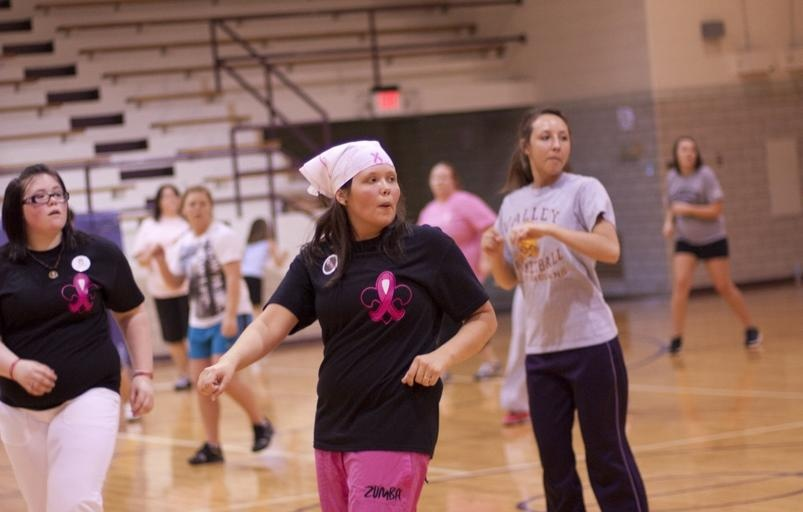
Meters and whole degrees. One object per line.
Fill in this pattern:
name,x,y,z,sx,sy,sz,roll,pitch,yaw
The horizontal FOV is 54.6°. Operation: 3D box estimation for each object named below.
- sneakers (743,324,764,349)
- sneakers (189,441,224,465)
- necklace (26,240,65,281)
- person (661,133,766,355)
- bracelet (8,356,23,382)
sneakers,2.244,0.517,4.955,0.064,0.082,0.192,-11,-11,13
sneakers,-1.407,1.433,5.709,0.299,0.168,0.102,3,0,-17
necklace,-1.786,0.024,3.909,0.161,0.148,0.068,-21,-16,-13
person,1.931,-0.066,4.987,0.438,1.362,0.171,-2,6,14
bracelet,-1.917,0.557,3.860,0.064,0.098,0.044,-7,7,-28
